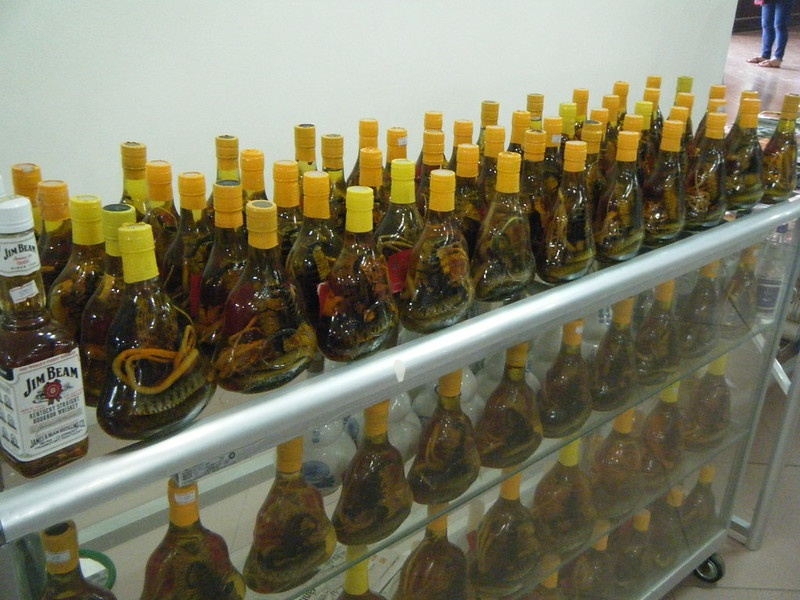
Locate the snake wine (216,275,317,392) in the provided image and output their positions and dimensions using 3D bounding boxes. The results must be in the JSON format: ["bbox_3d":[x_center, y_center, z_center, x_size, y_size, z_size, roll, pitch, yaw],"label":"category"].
[{"bbox_3d":[-0.187,0.046,0.887,0.102,0.143,0.061,-23,41,-33],"label":"snake wine"}]

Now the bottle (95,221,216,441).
[{"bbox_3d":[-0.320,0.030,0.828,0.121,0.253,0.162,15,24,39],"label":"bottle"}]

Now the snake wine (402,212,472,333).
[{"bbox_3d":[0.056,-0.040,1.012,0.117,0.192,0.056,-5,21,-4],"label":"snake wine"}]

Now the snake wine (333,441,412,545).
[{"bbox_3d":[-0.052,0.320,1.102,0.083,0.164,0.125,20,37,35],"label":"snake wine"}]

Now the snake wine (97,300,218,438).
[{"bbox_3d":[-0.305,0.090,0.809,0.078,0.132,0.121,8,28,41],"label":"snake wine"}]
